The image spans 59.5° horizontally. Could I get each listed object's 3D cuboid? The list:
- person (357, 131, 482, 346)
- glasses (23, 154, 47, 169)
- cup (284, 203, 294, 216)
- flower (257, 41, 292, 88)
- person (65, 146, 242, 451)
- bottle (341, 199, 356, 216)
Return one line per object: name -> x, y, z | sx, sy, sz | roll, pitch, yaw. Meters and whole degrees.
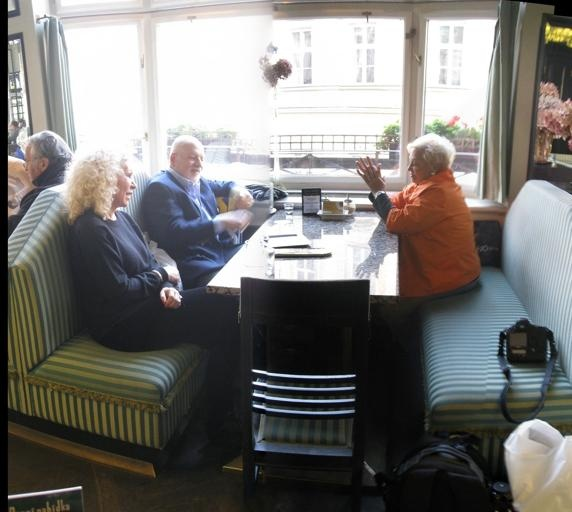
person -> 0.554, -0.027, 2.016 | 0.423, 0.889, 0.390 | -10, 13, -31
glasses -> -0.544, -0.205, 1.087 | 0.032, 0.039, 0.026 | 1, 0, -4
cup -> 0.012, -0.173, 1.790 | 0.036, 0.050, 0.034 | 0, 12, 0
flower -> -0.022, -0.495, 1.316 | 0.076, 0.117, 0.052 | -1, -8, -17
person -> -0.324, 0.099, 1.313 | 0.409, 0.770, 0.285 | -3, 11, -13
bottle -> 0.274, -0.218, 2.192 | 0.059, 0.130, 0.065 | 0, 4, 0
